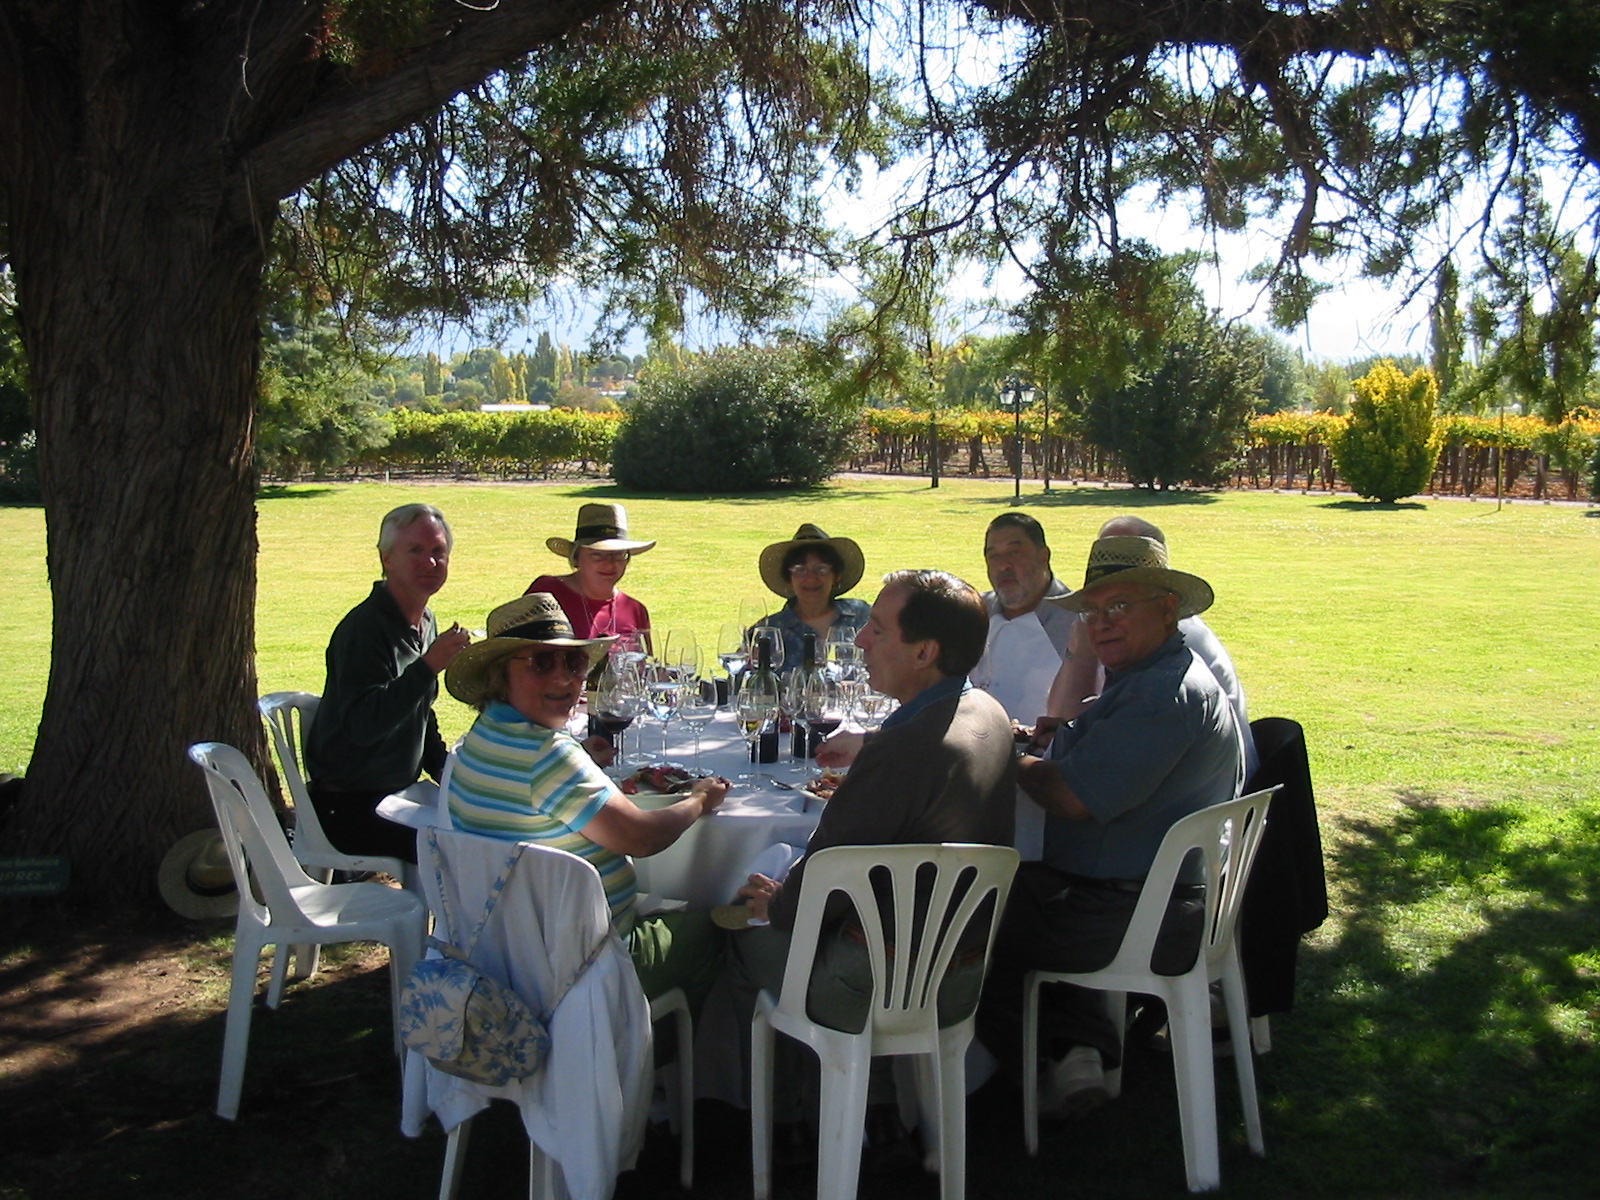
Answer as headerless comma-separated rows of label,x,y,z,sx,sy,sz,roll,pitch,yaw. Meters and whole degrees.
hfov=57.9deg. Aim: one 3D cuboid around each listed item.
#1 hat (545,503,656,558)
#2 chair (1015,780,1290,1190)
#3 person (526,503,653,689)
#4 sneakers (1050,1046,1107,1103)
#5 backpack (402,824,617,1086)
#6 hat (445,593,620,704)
hat,-1.113,-0.377,8.119,0.526,0.329,0.713,2,3,-21
chair,1.610,1.505,6.260,1.217,2.227,1.055,-2,-3,43
person,-1.122,-0.048,7.928,0.749,1.352,0.758,-1,3,-30
sneakers,1.091,1.881,5.745,0.148,0.309,0.179,0,4,-45
backpack,-1.116,1.249,4.971,0.494,0.828,0.255,4,4,17
hat,-1.089,0.179,5.295,0.443,0.198,0.388,-30,-19,34
